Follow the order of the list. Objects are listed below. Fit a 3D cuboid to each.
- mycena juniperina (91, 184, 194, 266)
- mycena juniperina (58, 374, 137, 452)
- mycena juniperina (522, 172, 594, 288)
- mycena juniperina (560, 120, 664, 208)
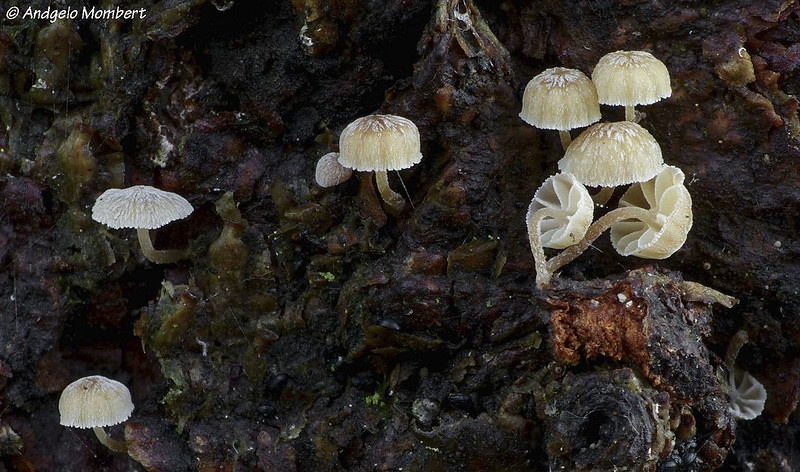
[{"bbox_3d":[-3.613,-0.073,12.825,1.333,1.289,0.574,-4,40,-6],"label":"mycena juniperina"},{"bbox_3d":[-4.325,2.527,12.800,0.984,1.139,0.969,27,39,17],"label":"mycena juniperina"},{"bbox_3d":[2.210,-0.084,12.251,0.911,1.553,0.793,17,7,41],"label":"mycena juniperina"},{"bbox_3d":[2.780,-1.042,11.766,0.926,0.851,0.968,10,45,19],"label":"mycena juniperina"}]
